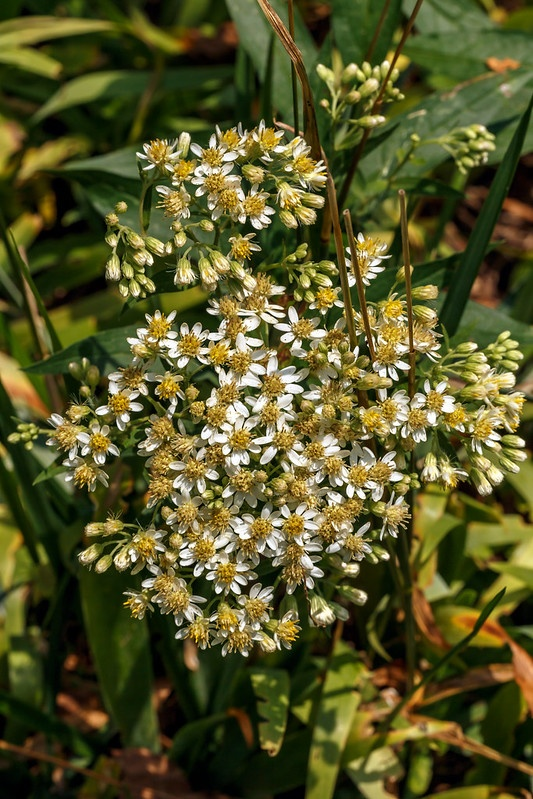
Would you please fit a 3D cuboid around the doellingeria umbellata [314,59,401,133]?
[{"bbox_3d":[0.105,-0.381,1.050,0.095,0.092,0.073,16,39,32],"label":"doellingeria umbellata"}]

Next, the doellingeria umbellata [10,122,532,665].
[{"bbox_3d":[0.048,0.051,1.227,0.712,0.346,0.651,16,85,6],"label":"doellingeria umbellata"}]
